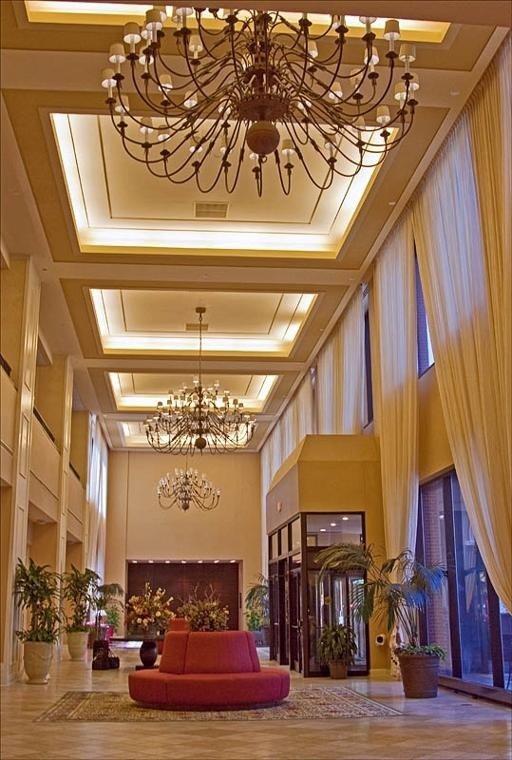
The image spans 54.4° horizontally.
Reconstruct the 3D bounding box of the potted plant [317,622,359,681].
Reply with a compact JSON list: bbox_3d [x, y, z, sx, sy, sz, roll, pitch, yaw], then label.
[{"bbox_3d":[1.422,5.271,9.655,0.693,1.187,0.781,3,-24,-4],"label":"potted plant"}]

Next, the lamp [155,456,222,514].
[{"bbox_3d":[-2.335,2.987,16.575,1.408,2.414,1.570,4,7,6],"label":"lamp"}]

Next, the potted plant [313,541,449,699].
[{"bbox_3d":[2.039,3.455,7.488,1.658,2.335,1.740,-3,-15,-4],"label":"potted plant"}]

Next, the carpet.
[{"bbox_3d":[-0.454,4.029,6.203,4.081,0.156,2.449,-1,-25,-2],"label":"carpet"}]
